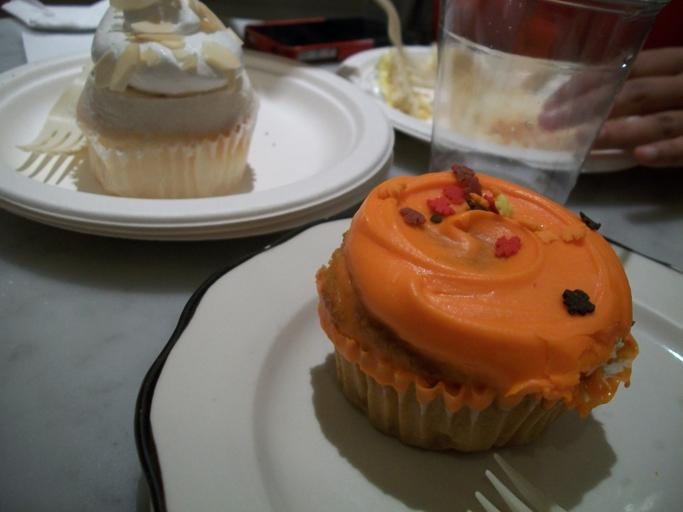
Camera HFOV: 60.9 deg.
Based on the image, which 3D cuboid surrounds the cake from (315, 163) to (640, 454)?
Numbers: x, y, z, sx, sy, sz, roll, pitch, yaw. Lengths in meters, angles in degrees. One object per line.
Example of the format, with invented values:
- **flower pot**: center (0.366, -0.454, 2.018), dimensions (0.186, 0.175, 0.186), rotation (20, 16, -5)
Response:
- **cake**: center (0.225, 0.099, 1.062), dimensions (0.483, 0.296, 0.473), rotation (-29, 53, -24)
